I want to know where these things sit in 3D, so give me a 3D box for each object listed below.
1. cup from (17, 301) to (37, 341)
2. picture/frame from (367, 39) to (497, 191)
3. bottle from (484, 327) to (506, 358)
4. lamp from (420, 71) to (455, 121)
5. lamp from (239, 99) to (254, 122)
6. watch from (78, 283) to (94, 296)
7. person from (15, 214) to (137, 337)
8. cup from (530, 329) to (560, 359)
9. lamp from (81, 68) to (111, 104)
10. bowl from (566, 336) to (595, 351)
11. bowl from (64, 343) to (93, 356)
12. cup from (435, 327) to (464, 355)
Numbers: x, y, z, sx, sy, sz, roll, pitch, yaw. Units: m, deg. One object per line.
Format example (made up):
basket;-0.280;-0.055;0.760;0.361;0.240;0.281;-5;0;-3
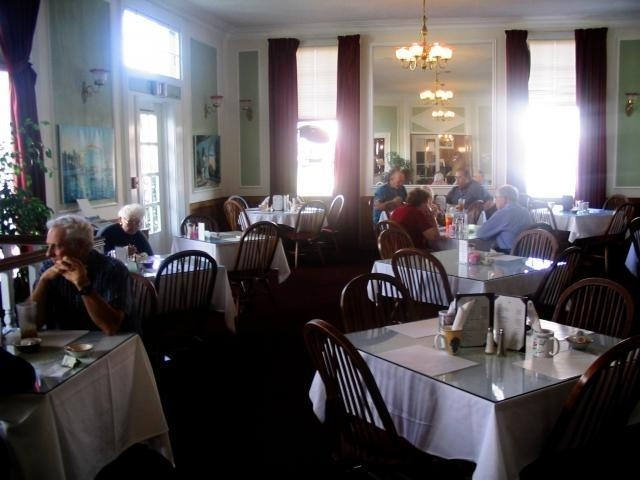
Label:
cup;-1.423;0.385;2.377;0.075;0.170;0.080;-3;8;0
picture/frame;2.021;-2.268;8.893;2.626;3.622;0.173;-1;1;3
bottle;0.819;0.471;2.297;0.086;0.106;0.100;0;9;21
lamp;2.439;-2.965;10.192;0.714;1.152;0.743;1;6;9
lamp;-1.297;-2.254;8.497;0.242;0.361;0.224;-3;8;-1
watch;-1.192;0.253;2.480;0.059;0.055;0.057;15;22;43
person;-1.339;0.300;2.741;0.512;0.869;0.451;4;14;2
cup;1.024;0.477;2.289;0.086;0.122;0.140;-2;8;-15
lamp;-2.579;-1.800;5.711;0.247;0.421;0.464;-3;9;4
bowl;1.234;0.488;2.333;0.102;0.050;0.068;0;9;20
bowl;-1.149;0.508;2.314;0.117;0.033;0.214;-8;10;-27
cup;0.603;0.462;2.289;0.129;0.100;0.083;-8;10;-31
